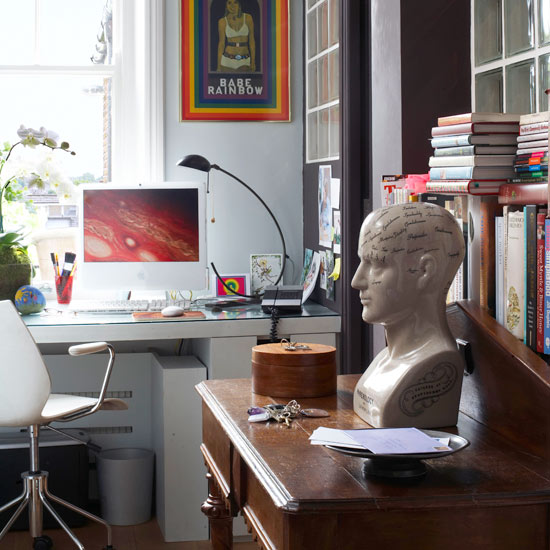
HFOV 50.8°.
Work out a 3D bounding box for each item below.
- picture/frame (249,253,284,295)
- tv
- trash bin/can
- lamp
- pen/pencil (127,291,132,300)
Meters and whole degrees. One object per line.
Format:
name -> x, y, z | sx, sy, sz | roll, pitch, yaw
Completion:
picture/frame -> -0.053, -0.005, 3.048 | 0.187, 0.292, 0.027 | 1, -3, -4
tv -> -0.634, -0.186, 2.772 | 0.618, 0.566, 0.062 | 0, 1, 4
trash bin/can -> -0.676, 0.941, 2.658 | 0.258, 0.326, 0.291 | 0, 0, -15
lamp -> -0.254, -0.248, 3.066 | 0.452, 0.757, 0.322 | 0, 10, -13
pen/pencil -> -0.733, 0.101, 2.923 | 0.009, 0.036, 0.024 | 13, 1, -22
